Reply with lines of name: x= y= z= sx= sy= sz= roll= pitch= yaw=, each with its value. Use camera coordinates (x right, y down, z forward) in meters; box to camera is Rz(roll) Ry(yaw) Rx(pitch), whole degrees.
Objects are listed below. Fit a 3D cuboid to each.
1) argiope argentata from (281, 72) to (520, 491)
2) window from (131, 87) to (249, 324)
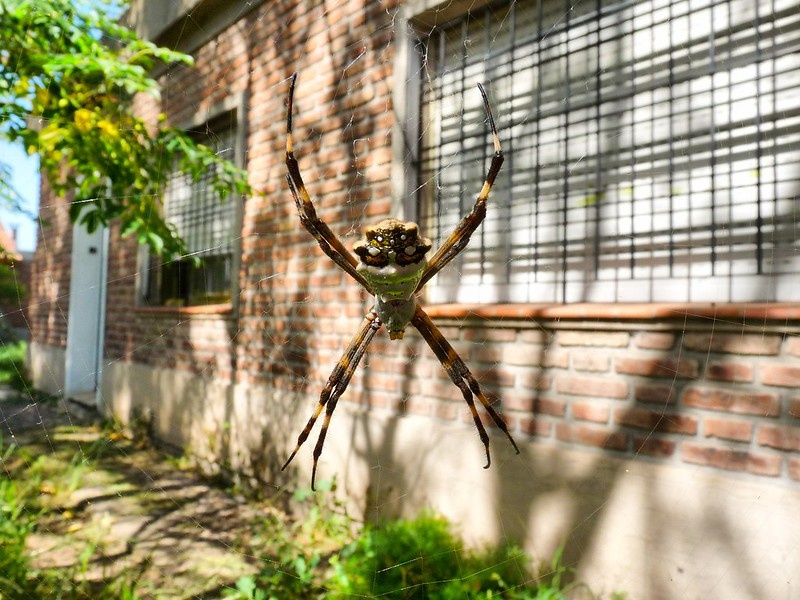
argiope argentata: x=-0.020 y=-0.089 z=2.777 sx=1.137 sy=1.480 sz=0.833 roll=3 pitch=-2 yaw=13
window: x=-1.201 y=-0.591 z=3.384 sx=0.114 sy=1.646 sz=0.815 roll=15 pitch=21 yaw=21
